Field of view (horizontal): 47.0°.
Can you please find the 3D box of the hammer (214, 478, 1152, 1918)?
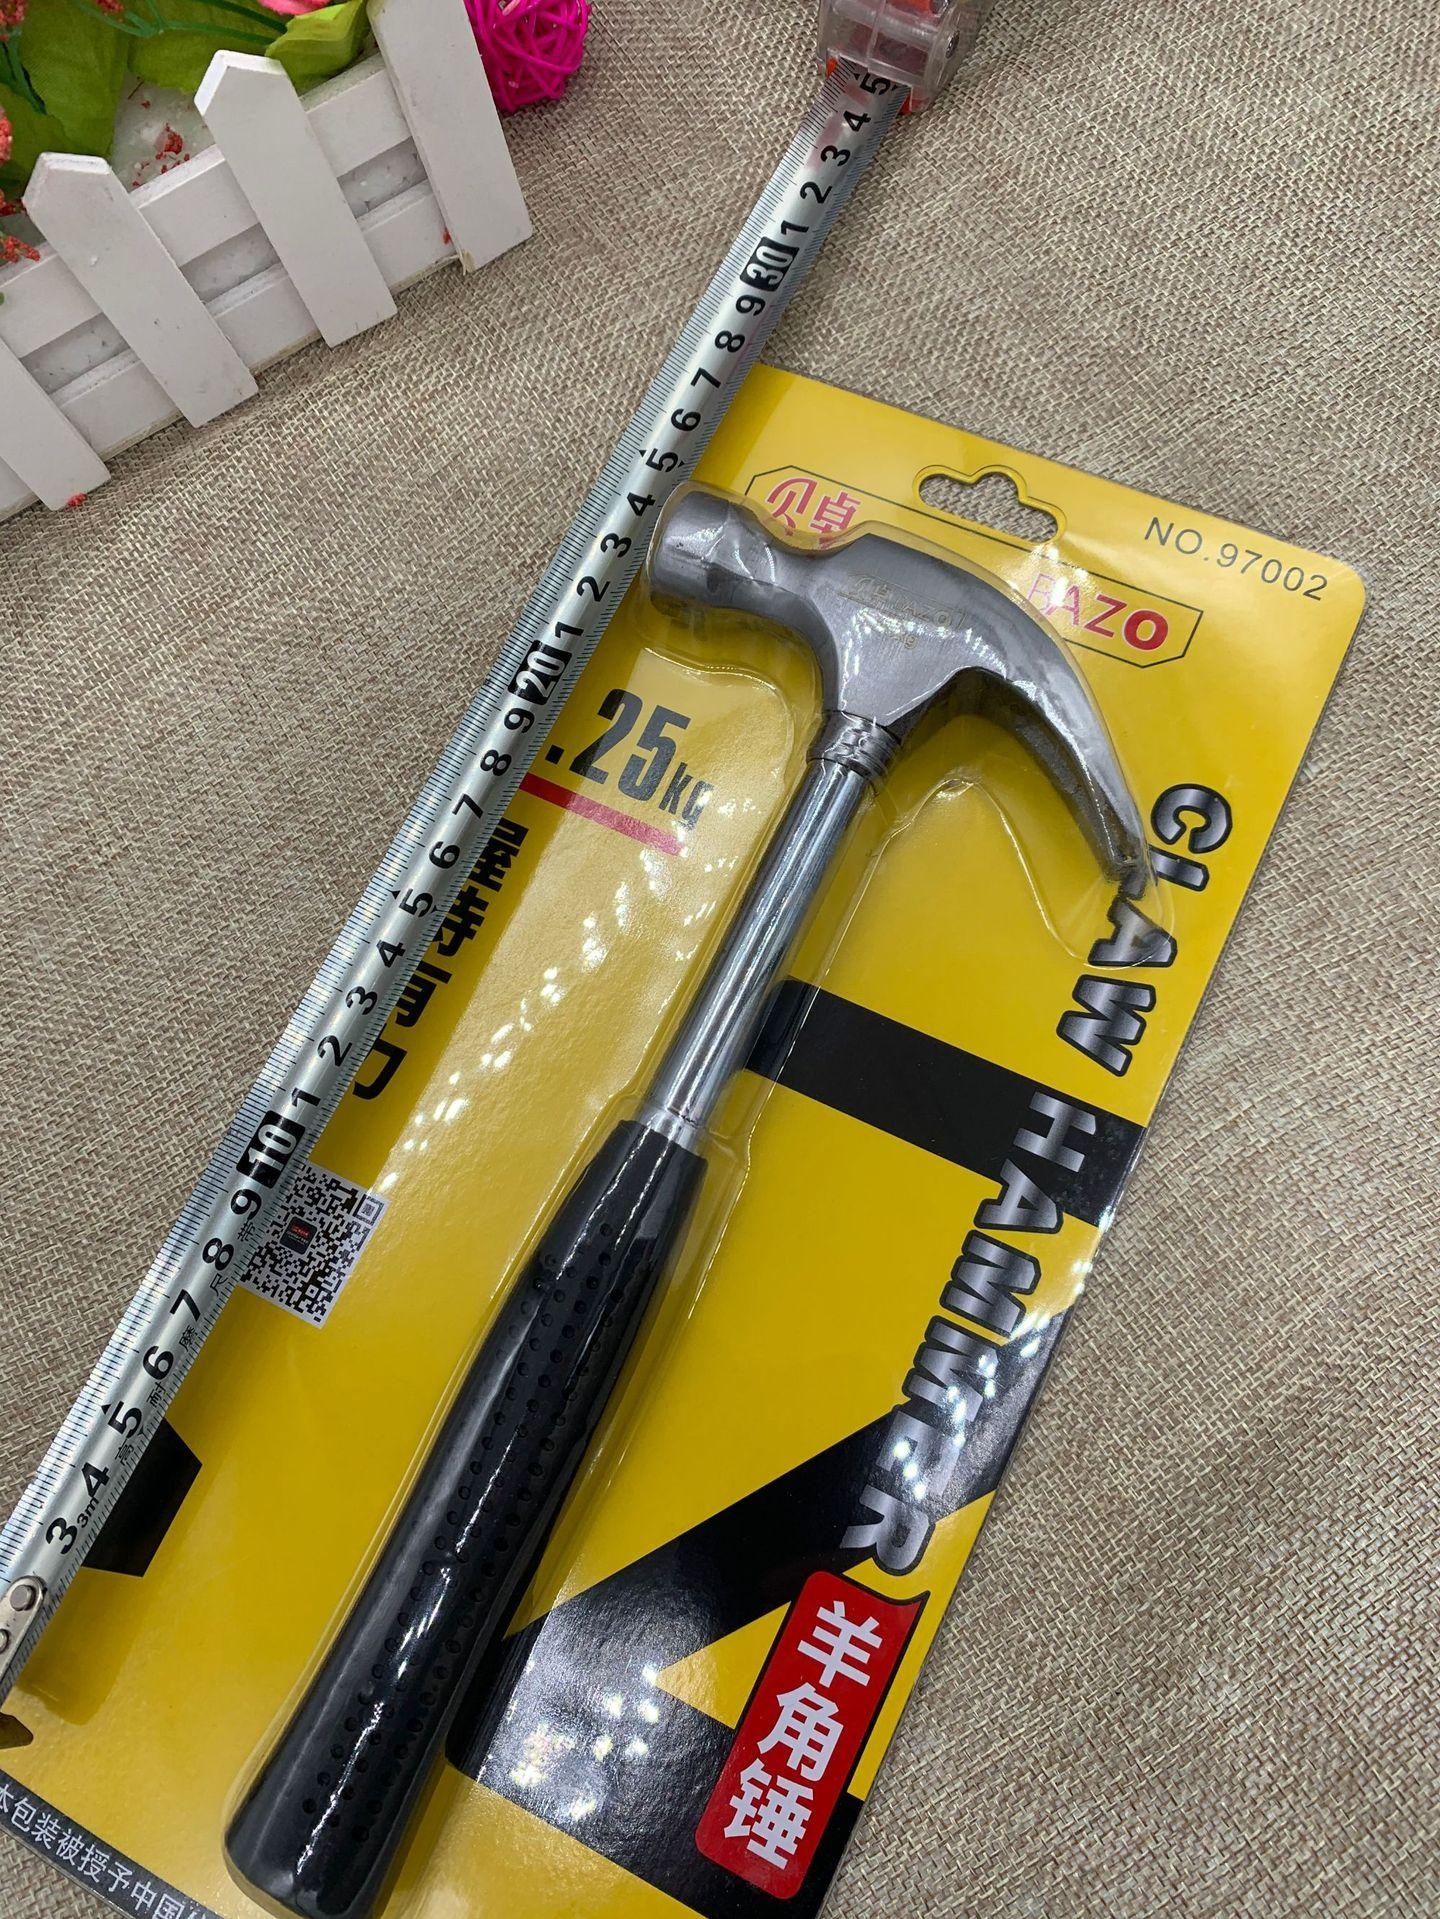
[{"bbox_3d":[0.001,0.168,1.346,0.476,0.151,1.060,26,78,7],"label":"hammer"}]
